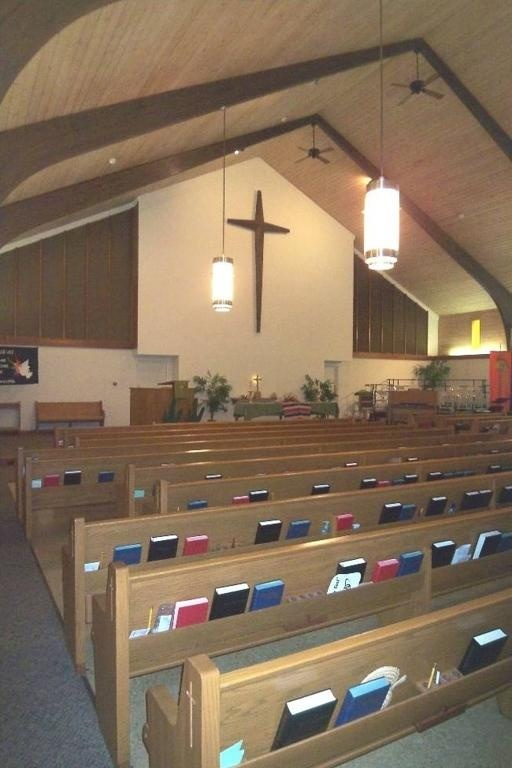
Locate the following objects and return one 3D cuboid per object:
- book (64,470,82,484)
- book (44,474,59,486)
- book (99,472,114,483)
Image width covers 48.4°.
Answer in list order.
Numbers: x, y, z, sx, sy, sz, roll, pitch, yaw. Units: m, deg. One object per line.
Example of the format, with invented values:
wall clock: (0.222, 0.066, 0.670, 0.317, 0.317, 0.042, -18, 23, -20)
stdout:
book: (-1.078, 0.540, 3.335, 0.083, 0.087, 0.084, -2, -8, -15)
book: (-1.203, 0.558, 3.342, 0.075, 0.074, 0.018, 8, 5, -36)
book: (-0.922, 0.563, 3.500, 0.076, 0.080, 0.074, -3, 19, -20)
